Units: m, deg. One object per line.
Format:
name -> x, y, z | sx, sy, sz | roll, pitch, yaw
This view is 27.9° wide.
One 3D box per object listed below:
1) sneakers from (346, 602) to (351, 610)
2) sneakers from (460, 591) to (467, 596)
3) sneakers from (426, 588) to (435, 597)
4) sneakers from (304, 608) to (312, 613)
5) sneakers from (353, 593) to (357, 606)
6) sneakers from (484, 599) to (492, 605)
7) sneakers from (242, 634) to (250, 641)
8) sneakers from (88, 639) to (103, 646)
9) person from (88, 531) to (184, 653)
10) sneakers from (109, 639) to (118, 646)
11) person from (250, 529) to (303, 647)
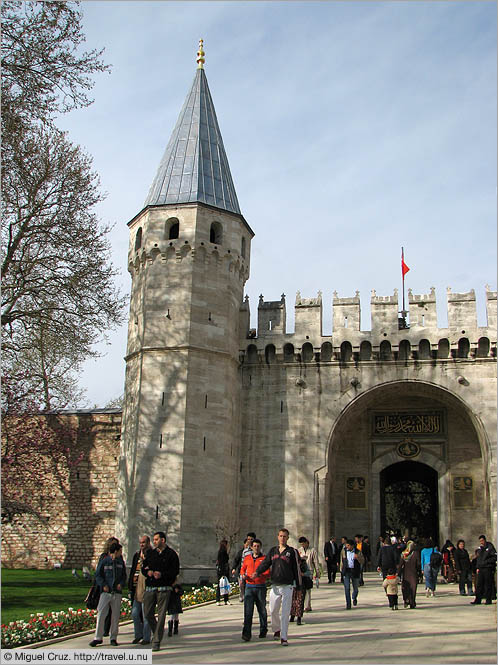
sneakers -> 1.693, 4.668, 17.132 | 0.094, 0.150, 0.096 | 12, -23, -30
sneakers -> 4.229, 5.142, 19.777 | 0.118, 0.055, 0.167 | 2, -12, -1
sneakers -> 3.607, 5.163, 19.881 | 0.067, 0.212, 0.143 | -13, -17, 37
sneakers -> 0.992, 4.661, 16.858 | 0.129, 0.083, 0.266 | 0, -12, 1
sneakers -> 1.875, 4.717, 17.722 | 0.070, 0.157, 0.223 | -5, -46, 6
sneakers -> 4.252, 4.795, 17.801 | 0.091, 0.094, 0.165 | -3, 0, 16
sneakers -> -0.040, 4.141, 13.597 | 0.044, 0.060, 0.138 | 1, -35, 19
sneakers -> -2.020, 4.094, 13.225 | 0.161, 0.089, 0.214 | 2, -13, -8
person -> -1.459, 3.443, 13.421 | 1.076, 1.495, 0.655 | -3, -12, 17
sneakers -> -1.785, 4.141, 13.320 | 0.115, 0.085, 0.046 | -2, -16, 8
person -> 0.412, 3.484, 13.846 | 0.558, 1.522, 1.055 | -1, -12, 8
